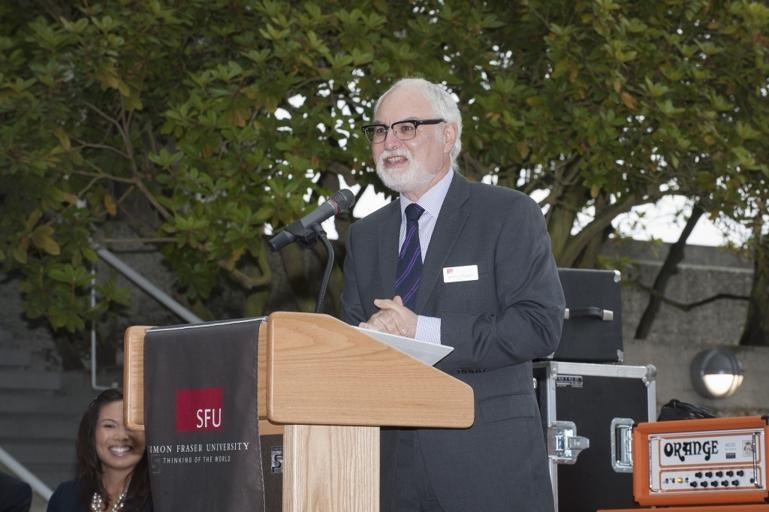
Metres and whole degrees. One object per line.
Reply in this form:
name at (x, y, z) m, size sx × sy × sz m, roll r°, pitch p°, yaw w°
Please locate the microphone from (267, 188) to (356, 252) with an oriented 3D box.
microphone at (-0.451, -0.189, 8.937) m, size 0.622 × 0.159 × 0.195 m, roll -32°, pitch 6°, yaw -26°
